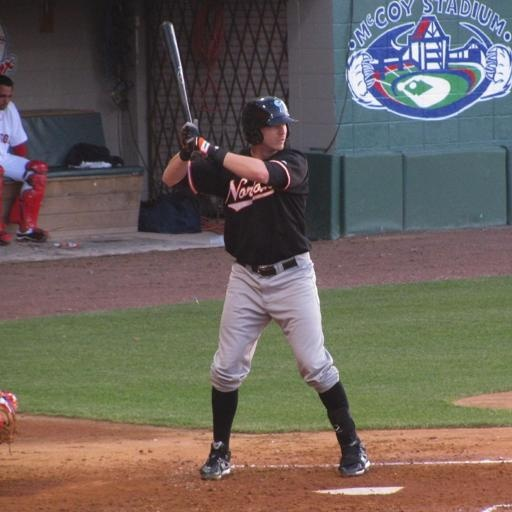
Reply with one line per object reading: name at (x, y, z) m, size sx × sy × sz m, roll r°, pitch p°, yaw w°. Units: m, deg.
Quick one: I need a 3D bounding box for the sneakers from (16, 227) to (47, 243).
sneakers at (-2.673, -0.250, 14.071) m, size 0.414 × 0.197 × 0.151 m, roll -1°, pitch 7°, yaw 0°

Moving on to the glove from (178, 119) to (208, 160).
glove at (-0.373, -0.715, 7.210) m, size 0.152 × 0.243 × 0.101 m, roll -3°, pitch 33°, yaw 41°

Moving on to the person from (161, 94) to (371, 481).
person at (0.084, 0.162, 7.281) m, size 1.273 × 2.252 × 0.511 m, roll 2°, pitch 8°, yaw 6°

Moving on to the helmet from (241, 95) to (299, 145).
helmet at (0.073, -0.858, 7.336) m, size 0.342 × 0.294 × 0.277 m, roll -1°, pitch 21°, yaw 13°
